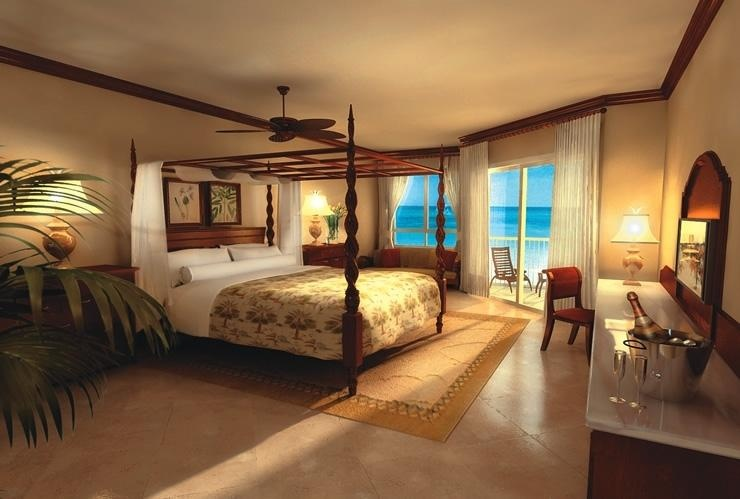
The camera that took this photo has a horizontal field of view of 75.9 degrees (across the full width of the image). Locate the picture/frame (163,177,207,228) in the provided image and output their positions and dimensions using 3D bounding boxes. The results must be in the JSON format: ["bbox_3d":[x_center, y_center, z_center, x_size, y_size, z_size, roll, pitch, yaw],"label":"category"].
[{"bbox_3d":[-2.553,-0.642,6.448,0.057,0.739,0.765,-2,1,31],"label":"picture/frame"}]

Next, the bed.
[{"bbox_3d":[-0.462,0.231,6.056,2.323,1.779,2.472,3,7,27],"label":"bed"}]

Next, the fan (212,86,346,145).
[{"bbox_3d":[-1.001,-1.550,5.490,1.455,0.453,1.404,2,3,-5],"label":"fan"}]

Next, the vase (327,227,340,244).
[{"bbox_3d":[-0.612,-0.244,9.100,0.266,0.325,0.261,2,1,31],"label":"vase"}]

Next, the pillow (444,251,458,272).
[{"bbox_3d":[1.587,0.233,9.229,0.424,0.434,0.178,2,-6,14],"label":"pillow"}]

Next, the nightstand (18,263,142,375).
[{"bbox_3d":[-1.878,0.382,3.145,0.571,0.408,0.321,2,10,13],"label":"nightstand"}]

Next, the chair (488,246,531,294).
[{"bbox_3d":[2.534,0.343,8.503,0.537,0.660,0.576,-3,13,-25],"label":"chair"}]

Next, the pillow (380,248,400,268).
[{"bbox_3d":[0.427,0.183,9.818,0.420,0.379,0.145,0,-8,-5],"label":"pillow"}]

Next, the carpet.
[{"bbox_3d":[-0.163,1.375,5.414,4.236,0.362,2.701,0,3,2],"label":"carpet"}]

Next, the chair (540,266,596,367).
[{"bbox_3d":[2.589,0.762,5.779,0.868,0.986,0.834,0,7,-1],"label":"chair"}]

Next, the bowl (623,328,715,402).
[{"bbox_3d":[1.825,0.674,2.899,0.470,0.300,0.417,-1,-1,36],"label":"bowl"}]

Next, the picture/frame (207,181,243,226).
[{"bbox_3d":[-2.180,-0.689,7.020,0.059,0.654,0.713,8,2,28],"label":"picture/frame"}]
